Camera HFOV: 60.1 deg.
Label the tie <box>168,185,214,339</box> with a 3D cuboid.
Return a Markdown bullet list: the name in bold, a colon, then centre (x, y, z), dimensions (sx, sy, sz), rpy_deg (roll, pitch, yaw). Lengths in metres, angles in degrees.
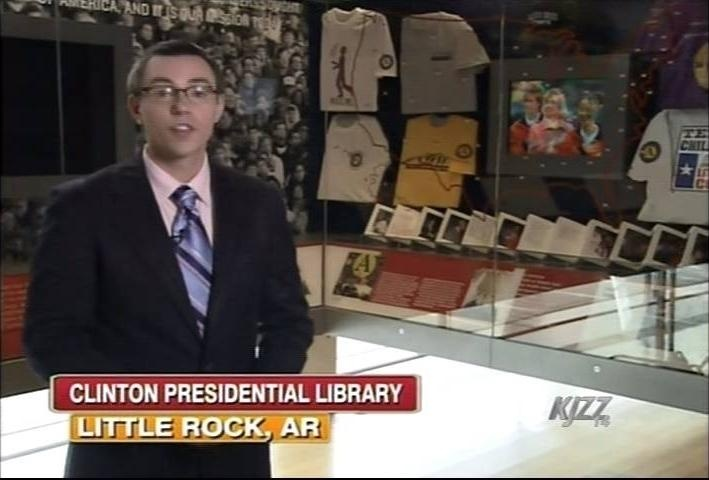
- **tie**: centre (-0.559, 0.079, 2.127), dimensions (0.130, 0.515, 0.056), rpy_deg (-7, -5, -12)

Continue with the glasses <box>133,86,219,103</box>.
- **glasses**: centre (-0.623, -0.507, 2.140), dimensions (0.274, 0.056, 0.017), rpy_deg (-3, 8, -7)
